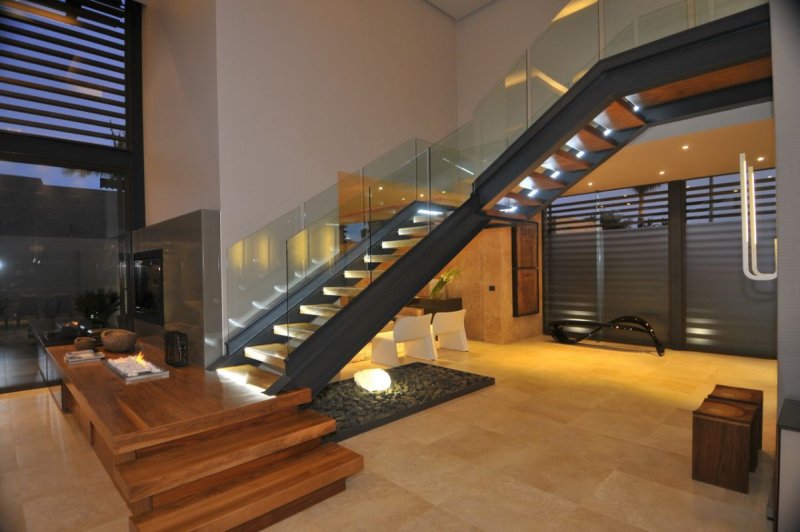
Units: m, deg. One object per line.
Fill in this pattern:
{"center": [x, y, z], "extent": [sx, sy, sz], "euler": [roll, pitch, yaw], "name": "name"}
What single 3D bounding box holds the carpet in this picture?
{"center": [-0.148, 2.009, 8.208], "extent": [2.893, 0.248, 1.575], "euler": [-10, 17, -36], "name": "carpet"}
